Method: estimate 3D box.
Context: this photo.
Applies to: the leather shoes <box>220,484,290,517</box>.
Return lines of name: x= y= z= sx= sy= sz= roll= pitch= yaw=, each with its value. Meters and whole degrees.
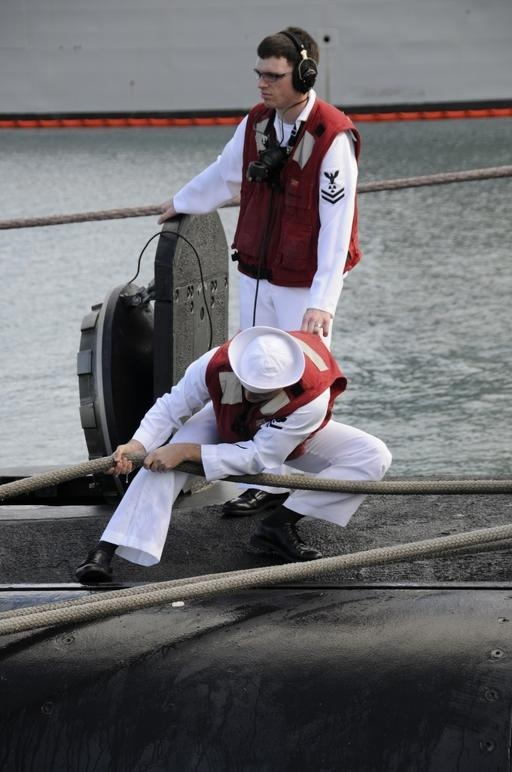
leather shoes: x=-0.007 y=0.380 z=4.372 sx=0.233 sy=0.096 sz=0.085 roll=-1 pitch=4 yaw=-39

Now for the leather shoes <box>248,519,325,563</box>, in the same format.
leather shoes: x=0.082 y=0.455 z=3.806 sx=0.246 sy=0.106 sz=0.084 roll=14 pitch=24 yaw=17

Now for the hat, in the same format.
hat: x=0.028 y=-0.082 z=3.638 sx=0.195 sy=0.124 sz=0.214 roll=-6 pitch=26 yaw=-16

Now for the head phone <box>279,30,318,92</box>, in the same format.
head phone: x=0.133 y=-0.995 z=4.020 sx=0.114 sy=0.184 sz=0.177 roll=2 pitch=26 yaw=1

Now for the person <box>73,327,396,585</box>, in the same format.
person: x=-0.063 y=0.191 z=3.848 sx=0.901 sy=0.797 sz=0.624 roll=-2 pitch=26 yaw=-7
